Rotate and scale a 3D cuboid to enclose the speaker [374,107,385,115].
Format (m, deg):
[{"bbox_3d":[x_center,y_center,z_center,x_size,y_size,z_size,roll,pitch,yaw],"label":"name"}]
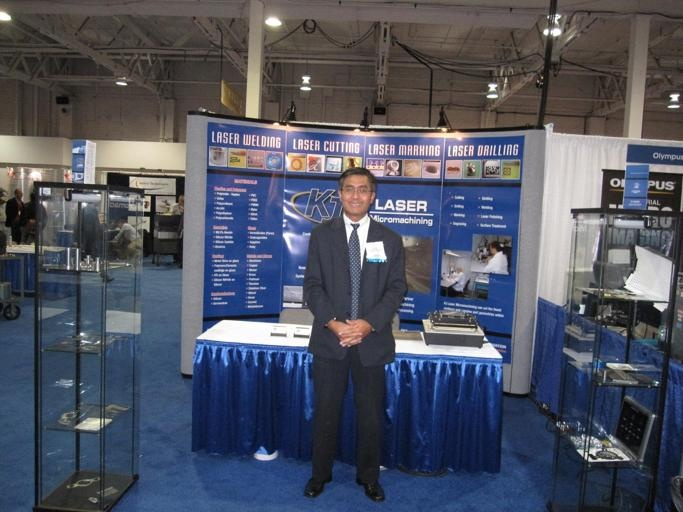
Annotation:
[{"bbox_3d":[0.904,-3.418,14.823,0.189,0.133,0.196,1,9,4],"label":"speaker"}]

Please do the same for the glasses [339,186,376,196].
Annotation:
[{"bbox_3d":[0.119,-0.483,4.607,0.257,0.092,0.095,2,9,0],"label":"glasses"}]

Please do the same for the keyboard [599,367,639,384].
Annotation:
[{"bbox_3d":[1.911,0.830,4.325,0.254,0.095,0.109,1,9,-8],"label":"keyboard"}]

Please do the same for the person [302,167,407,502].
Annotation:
[{"bbox_3d":[0.082,0.567,4.646,0.757,2.403,0.417,2,9,3],"label":"person"}]

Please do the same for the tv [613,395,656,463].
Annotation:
[{"bbox_3d":[2.015,1.211,4.335,0.035,0.331,0.360,8,14,-14],"label":"tv"}]

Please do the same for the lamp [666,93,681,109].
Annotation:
[{"bbox_3d":[6.452,-3.034,12.145,0.159,0.279,1.112,6,10,26],"label":"lamp"}]

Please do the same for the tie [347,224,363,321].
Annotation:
[{"bbox_3d":[0.094,0.114,4.598,0.101,0.676,0.171,2,9,-1],"label":"tie"}]
